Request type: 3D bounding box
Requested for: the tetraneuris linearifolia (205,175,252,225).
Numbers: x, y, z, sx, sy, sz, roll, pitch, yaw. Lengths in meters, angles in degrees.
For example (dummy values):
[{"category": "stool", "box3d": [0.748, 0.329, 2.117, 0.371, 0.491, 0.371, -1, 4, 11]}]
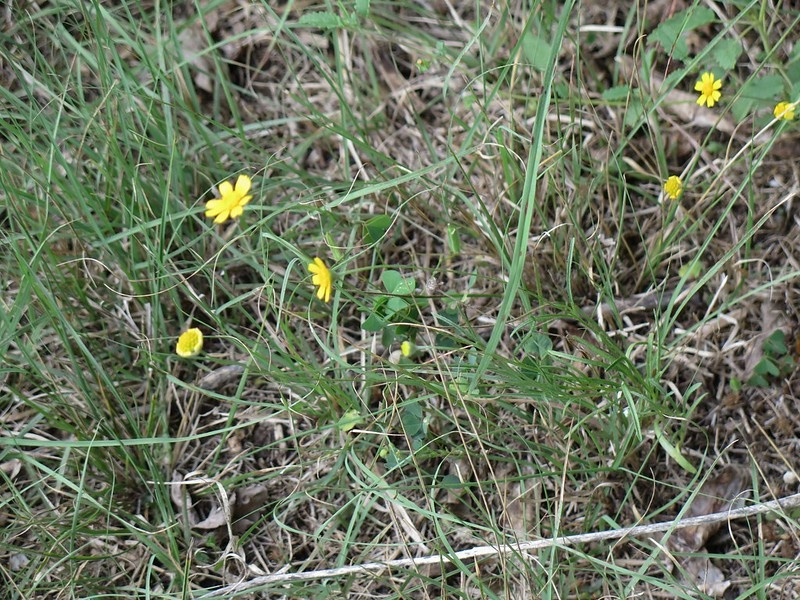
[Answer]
[{"category": "tetraneuris linearifolia", "box3d": [-0.521, -0.320, 2.124, 0.162, 0.167, 0.055, -31, 78, 31]}]
